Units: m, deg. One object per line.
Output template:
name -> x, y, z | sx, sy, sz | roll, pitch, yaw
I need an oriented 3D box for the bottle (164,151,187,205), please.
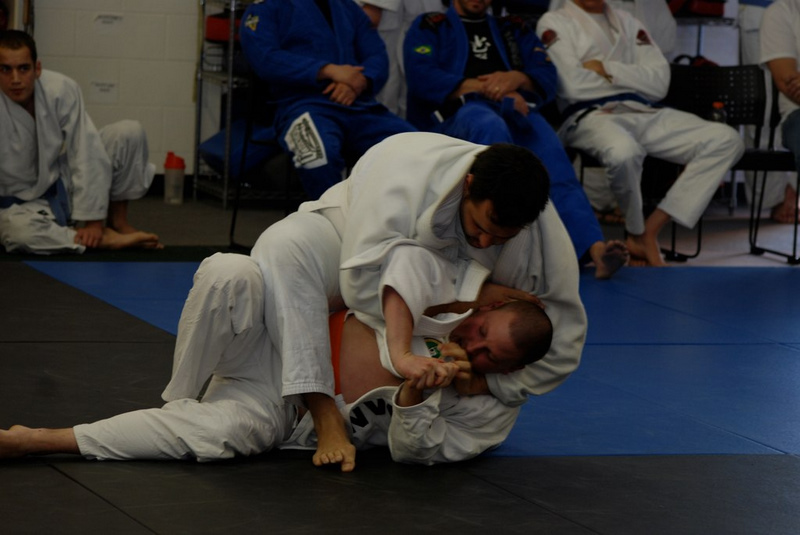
bottle -> -1.701, -0.681, 6.593 | 0.146, 0.375, 0.311 | 1, 11, -16

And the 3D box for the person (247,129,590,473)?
person -> -0.012, 0.054, 2.990 | 0.917, 0.932, 1.179 | -8, 17, -44

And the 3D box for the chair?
chair -> 0.561, -0.527, 4.229 | 1.576, 0.669, 0.496 | 4, -4, 1
